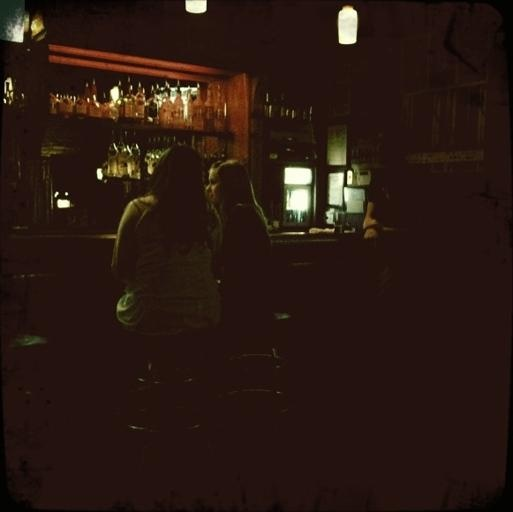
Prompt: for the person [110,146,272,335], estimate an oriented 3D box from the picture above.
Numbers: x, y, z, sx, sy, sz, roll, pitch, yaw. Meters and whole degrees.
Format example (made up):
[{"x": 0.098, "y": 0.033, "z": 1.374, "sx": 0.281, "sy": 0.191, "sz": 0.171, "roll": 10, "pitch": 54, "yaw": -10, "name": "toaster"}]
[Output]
[{"x": -0.419, "y": -0.185, "z": 3.057, "sx": 0.620, "sy": 1.353, "sz": 0.720, "roll": 2, "pitch": 13, "yaw": -5, "name": "person"}]
